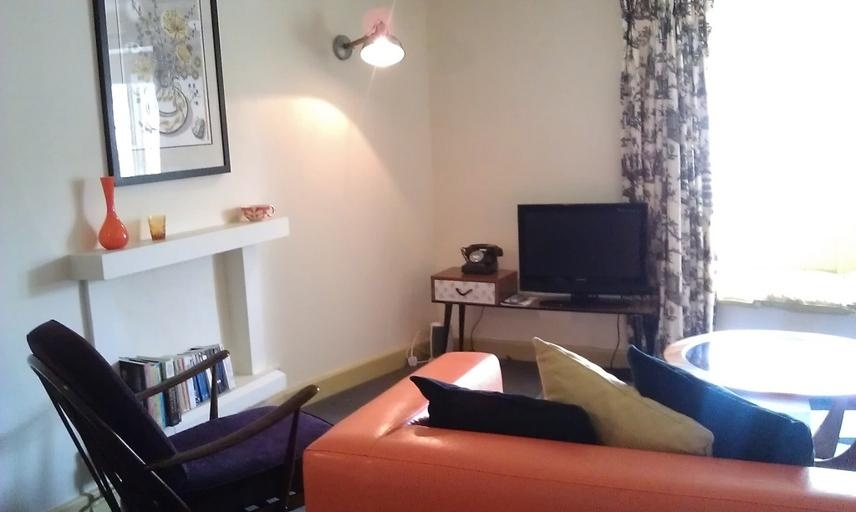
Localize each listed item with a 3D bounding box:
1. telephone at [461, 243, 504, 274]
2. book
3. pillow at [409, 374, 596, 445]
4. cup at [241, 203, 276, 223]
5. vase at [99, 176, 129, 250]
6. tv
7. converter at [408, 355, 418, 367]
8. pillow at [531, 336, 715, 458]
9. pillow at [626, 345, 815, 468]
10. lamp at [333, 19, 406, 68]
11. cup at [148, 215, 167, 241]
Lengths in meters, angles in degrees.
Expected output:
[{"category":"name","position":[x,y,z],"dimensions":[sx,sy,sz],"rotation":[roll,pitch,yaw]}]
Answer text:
[{"category":"telephone","position":[0.450,0.025,5.207],"dimensions":[0.366,0.241,0.243],"rotation":[0,0,23]},{"category":"book","position":[-1.483,0.764,3.548],"dimensions":[0.217,0.292,0.519],"rotation":[-21,-7,24]},{"category":"pillow","position":[0.328,0.680,2.669],"dimensions":[0.466,0.129,0.393],"rotation":[4,26,6]},{"category":"cup","position":[-1.153,-0.313,4.300],"dimensions":[0.208,0.107,0.333],"rotation":[5,11,37]},{"category":"vase","position":[-1.856,-0.255,3.568],"dimensions":[0.153,0.423,0.247],"rotation":[-7,10,-27]},{"category":"tv","position":[1.294,-0.009,4.906],"dimensions":[0.929,0.700,0.216],"rotation":[0,2,21]},{"category":"converter","position":[-0.121,0.904,5.322],"dimensions":[0.095,0.071,0.088],"rotation":[-5,8,-37]},{"category":"pillow","position":[0.857,0.552,2.719],"dimensions":[0.565,0.163,0.532],"rotation":[31,-6,-1]},{"category":"pillow","position":[1.349,0.691,2.785],"dimensions":[0.196,0.454,0.557],"rotation":[-30,29,-32]},{"category":"lamp","position":[-0.419,-1.576,4.526],"dimensions":[0.495,0.290,0.265],"rotation":[-14,23,30]},{"category":"cup","position":[-1.650,-0.178,3.731],"dimensions":[0.094,0.150,0.151],"rotation":[-6,10,-25]}]
